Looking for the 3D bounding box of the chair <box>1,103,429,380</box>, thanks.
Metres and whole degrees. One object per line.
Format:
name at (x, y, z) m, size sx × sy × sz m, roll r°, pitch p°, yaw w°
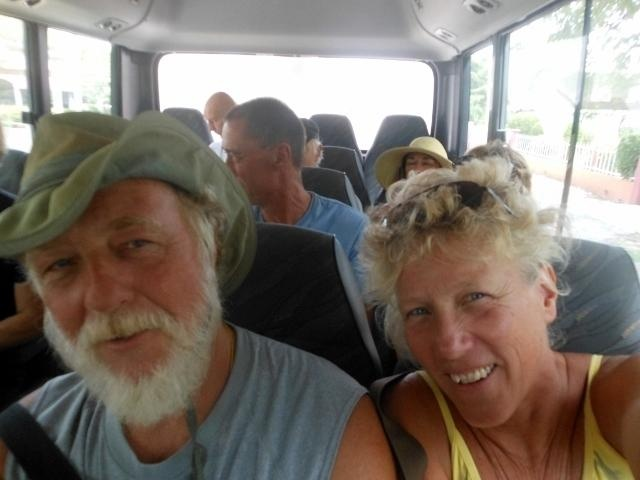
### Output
chair at (-0.094, 0.135, 2.887) m, size 1.184 × 0.822 × 0.967 m, roll 15°, pitch -1°, yaw -4°
